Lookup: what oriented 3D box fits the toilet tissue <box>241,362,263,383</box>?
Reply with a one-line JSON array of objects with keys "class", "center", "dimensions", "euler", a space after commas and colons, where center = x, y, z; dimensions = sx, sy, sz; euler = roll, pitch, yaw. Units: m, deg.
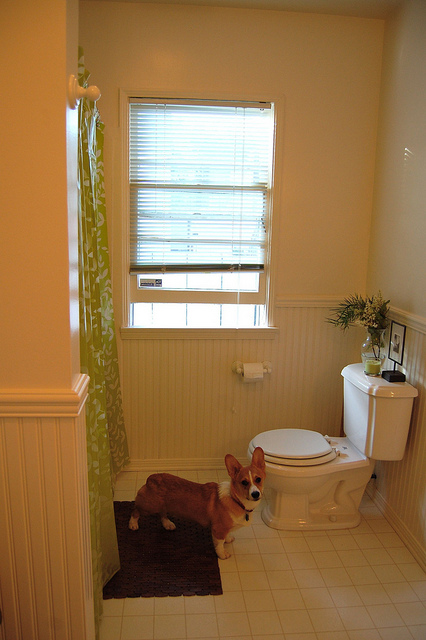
[{"class": "toilet tissue", "center": [0.220, 0.290, 2.618], "dimensions": [0.111, 0.122, 0.091], "euler": [-1, 4, -10]}]

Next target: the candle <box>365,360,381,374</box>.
[{"class": "candle", "center": [0.753, 0.221, 2.208], "dimensions": [0.057, 0.048, 0.057], "euler": [-4, 5, -37]}]

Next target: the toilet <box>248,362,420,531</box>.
[{"class": "toilet", "center": [0.533, 0.573, 2.516], "dimensions": [0.790, 0.958, 0.567], "euler": [2, 10, -3]}]

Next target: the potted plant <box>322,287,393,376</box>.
[{"class": "potted plant", "center": [0.752, 0.053, 2.373], "dimensions": [0.218, 0.408, 0.371], "euler": [-5, 0, 16]}]

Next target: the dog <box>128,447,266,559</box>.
[{"class": "dog", "center": [-0.084, 0.756, 2.057], "dimensions": [0.603, 0.509, 0.231], "euler": [7, 20, 12]}]
